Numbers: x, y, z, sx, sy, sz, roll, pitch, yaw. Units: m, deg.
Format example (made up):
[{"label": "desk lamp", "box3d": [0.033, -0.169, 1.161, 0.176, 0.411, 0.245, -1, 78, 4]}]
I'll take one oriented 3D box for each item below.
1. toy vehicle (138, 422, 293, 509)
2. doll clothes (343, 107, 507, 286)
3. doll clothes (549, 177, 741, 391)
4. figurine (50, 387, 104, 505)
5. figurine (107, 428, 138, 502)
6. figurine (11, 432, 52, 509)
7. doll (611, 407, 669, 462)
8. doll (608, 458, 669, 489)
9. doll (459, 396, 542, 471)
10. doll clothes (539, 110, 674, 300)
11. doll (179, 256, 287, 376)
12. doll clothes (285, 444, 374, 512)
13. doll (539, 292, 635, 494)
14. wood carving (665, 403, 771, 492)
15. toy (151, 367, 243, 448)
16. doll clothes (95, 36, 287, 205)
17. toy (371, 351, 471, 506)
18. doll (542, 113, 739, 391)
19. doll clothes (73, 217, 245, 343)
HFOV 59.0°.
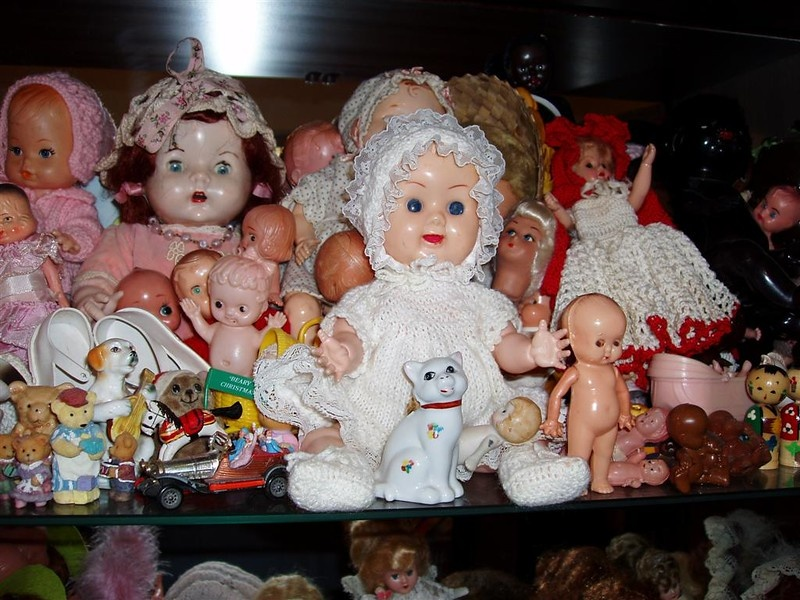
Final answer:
[{"label": "toy vehicle", "box3d": [-0.484, 0.424, 1.879, 0.346, 0.156, 0.182, 1, 4, -25]}, {"label": "doll clothes", "box3d": [0.027, -0.264, 2.259, 0.637, 0.570, 0.452, 1, 3, -10]}, {"label": "doll clothes", "box3d": [0.817, -0.087, 2.519, 0.630, 0.626, 0.298, -18, -18, 2]}, {"label": "figurine", "box3d": [-0.839, 0.378, 1.841, 0.129, 0.295, 0.085, -3, 6, -26]}, {"label": "figurine", "box3d": [-0.742, 0.440, 1.894, 0.071, 0.162, 0.131, -2, 6, -21]}, {"label": "figurine", "box3d": [-0.948, 0.443, 1.825, 0.092, 0.175, 0.053, -3, 6, -25]}, {"label": "doll", "box3d": [0.706, 0.395, 2.125, 0.198, 0.113, 0.078, -29, 11, -7]}, {"label": "doll", "box3d": [0.667, 0.488, 1.996, 0.139, 0.079, 0.054, 1, -31, -6]}, {"label": "doll", "box3d": [0.269, 0.390, 2.005, 0.253, 0.146, 0.103, -23, -45, 14]}, {"label": "doll clothes", "box3d": [0.750, -0.352, 2.798, 0.512, 0.754, 0.251, -4, -19, -9]}, {"label": "doll", "box3d": [-0.525, 0.053, 2.190, 0.328, 0.406, 0.165, 6, 19, -4]}, {"label": "doll clothes", "box3d": [-0.182, 0.465, 1.829, 0.215, 0.135, 0.146, -1, 5, -13]}, {"label": "doll", "box3d": [0.522, 0.255, 1.953, 0.298, 0.545, 0.127, -3, 6, -27]}, {"label": "wood carving", "box3d": [0.909, 0.416, 2.063, 0.340, 0.227, 0.125, -3, 6, -31]}, {"label": "toy", "box3d": [-0.602, 0.286, 2.042, 0.253, 0.175, 0.174, -1, -12, 8]}, {"label": "doll clothes", "box3d": [-0.727, -0.643, 2.632, 0.594, 0.430, 0.536, 4, 6, 5]}, {"label": "toy", "box3d": [0.049, 0.332, 1.855, 0.235, 0.384, 0.141, -1, 6, -2]}, {"label": "doll", "box3d": [0.783, -0.127, 2.705, 0.689, 0.887, 0.476, -9, -26, 1]}, {"label": "doll clothes", "box3d": [-0.880, -0.092, 2.464, 0.720, 0.370, 0.224, -2, -17, -14]}]
